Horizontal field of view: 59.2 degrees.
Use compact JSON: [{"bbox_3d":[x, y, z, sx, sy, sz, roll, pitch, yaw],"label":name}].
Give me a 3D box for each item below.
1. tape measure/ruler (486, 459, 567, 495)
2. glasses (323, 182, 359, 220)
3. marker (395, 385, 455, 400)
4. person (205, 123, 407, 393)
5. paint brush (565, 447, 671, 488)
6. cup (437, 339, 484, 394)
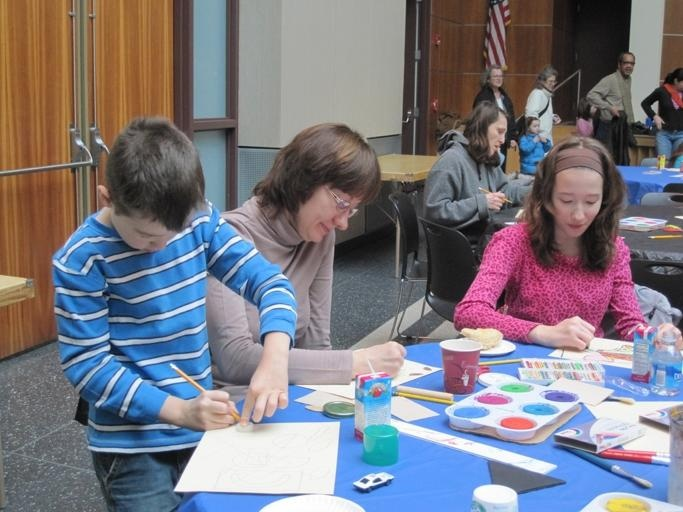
[{"bbox_3d":[0.398,0.465,1.322,0.147,0.028,0.168,-6,10,12],"label":"tape measure/ruler"},{"bbox_3d":[0.002,-0.176,1.933,0.028,0.087,0.083,-35,-26,11],"label":"glasses"},{"bbox_3d":[0.232,0.381,1.671,0.115,0.019,0.020,7,8,20],"label":"marker"},{"bbox_3d":[-0.088,0.018,2.169,0.754,0.943,0.614,3,-5,27],"label":"person"},{"bbox_3d":[0.610,0.472,1.333,0.259,0.029,0.027,18,37,38],"label":"paint brush"},{"bbox_3d":[0.337,0.305,1.723,0.118,0.140,0.127,-1,12,0],"label":"cup"}]
